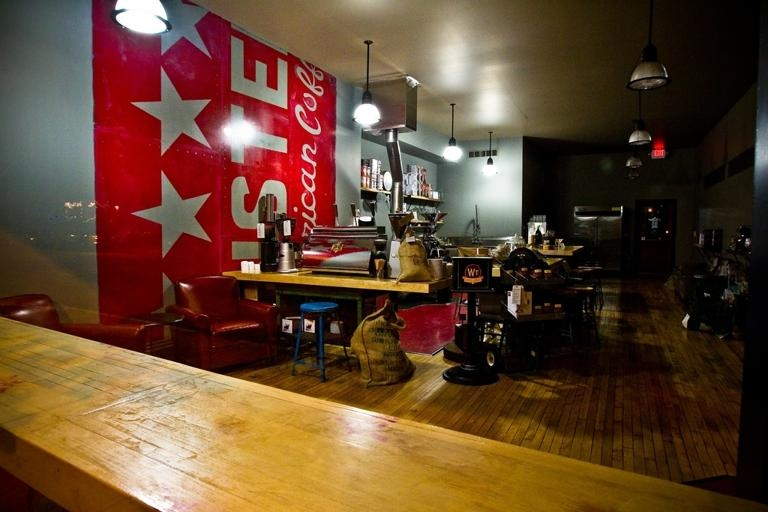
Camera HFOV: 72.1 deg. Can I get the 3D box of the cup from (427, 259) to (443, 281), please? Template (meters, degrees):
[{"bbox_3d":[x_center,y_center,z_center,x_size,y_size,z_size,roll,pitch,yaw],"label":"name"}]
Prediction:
[{"bbox_3d":[0.522,0.131,5.290,0.184,0.212,0.227,1,1,35],"label":"cup"}]

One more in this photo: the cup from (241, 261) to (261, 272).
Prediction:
[{"bbox_3d":[-1.545,0.125,6.185,0.172,0.199,0.164,0,-1,0],"label":"cup"}]

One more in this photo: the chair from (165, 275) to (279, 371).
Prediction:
[{"bbox_3d":[-1.709,0.723,5.799,0.956,1.087,1.201,-2,-3,40],"label":"chair"}]

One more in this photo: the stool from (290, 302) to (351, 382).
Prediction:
[{"bbox_3d":[-0.689,0.914,5.710,0.690,0.681,0.647,-1,-2,-5],"label":"stool"}]

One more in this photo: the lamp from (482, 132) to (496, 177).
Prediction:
[{"bbox_3d":[2.346,-2.246,11.595,0.249,0.938,1.153,3,10,11],"label":"lamp"}]

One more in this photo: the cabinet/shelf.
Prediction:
[{"bbox_3d":[1.571,0.584,5.739,0.743,1.134,0.708,1,0,-22],"label":"cabinet/shelf"}]

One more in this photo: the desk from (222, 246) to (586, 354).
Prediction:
[{"bbox_3d":[-0.301,0.356,5.833,3.063,1.140,1.195,4,10,18],"label":"desk"}]
